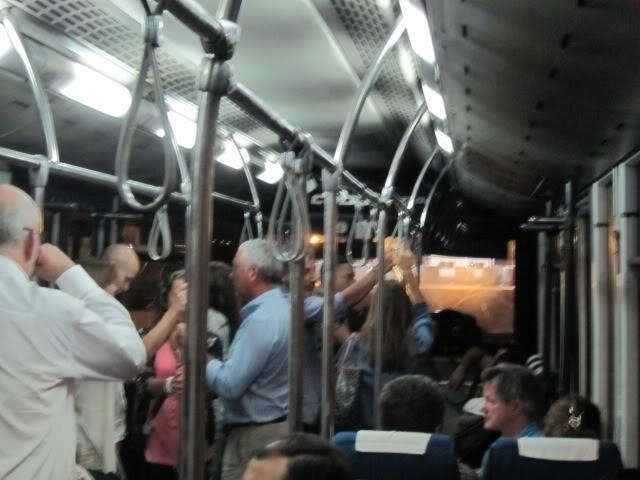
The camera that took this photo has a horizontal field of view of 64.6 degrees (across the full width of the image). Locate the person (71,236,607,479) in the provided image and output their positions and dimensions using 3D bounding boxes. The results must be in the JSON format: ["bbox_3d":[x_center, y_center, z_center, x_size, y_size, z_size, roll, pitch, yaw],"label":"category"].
[{"bbox_3d":[0.043,0.462,2.592,1.990,1.366,0.669,-4,1,5],"label":"person"}]
